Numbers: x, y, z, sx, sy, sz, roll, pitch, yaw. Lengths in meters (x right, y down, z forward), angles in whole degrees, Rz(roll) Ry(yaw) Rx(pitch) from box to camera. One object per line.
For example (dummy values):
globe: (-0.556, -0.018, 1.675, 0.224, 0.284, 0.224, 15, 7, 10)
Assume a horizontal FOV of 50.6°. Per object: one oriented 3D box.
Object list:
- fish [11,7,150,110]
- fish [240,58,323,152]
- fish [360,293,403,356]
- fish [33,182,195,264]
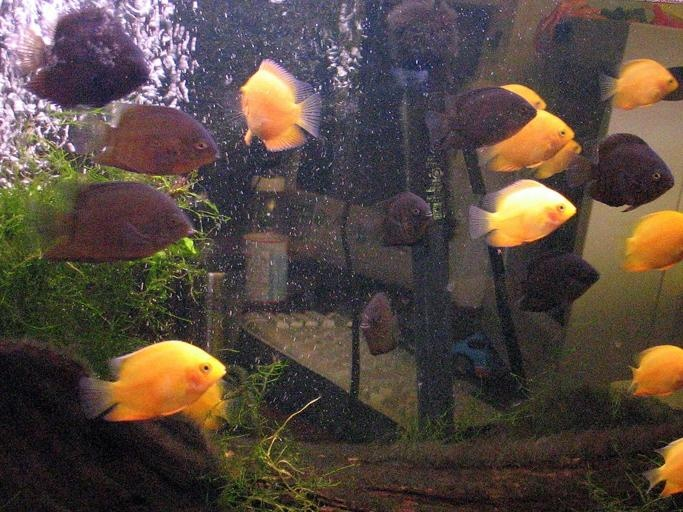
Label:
fish: (-1.042, -0.766, 2.825, 0.369, 0.286, 0.072, 16, 0, -5)
fish: (-0.279, -0.659, 3.188, 0.359, 0.392, 0.139, -14, 23, -7)
fish: (0.183, 0.327, 3.370, 0.193, 0.273, 0.087, -6, 8, -21)
fish: (-0.888, -0.133, 2.778, 0.572, 0.303, 0.115, -12, 22, -1)
